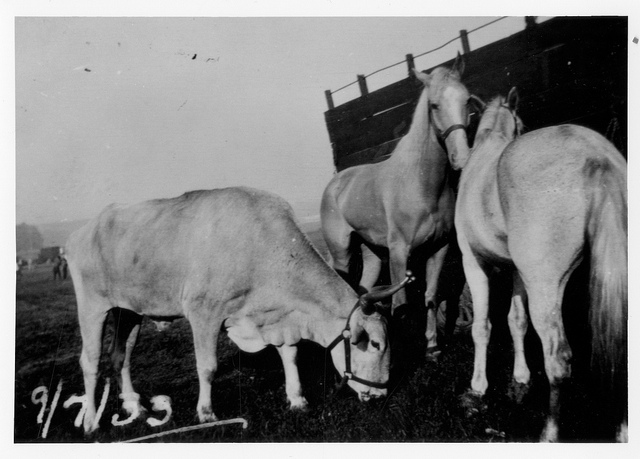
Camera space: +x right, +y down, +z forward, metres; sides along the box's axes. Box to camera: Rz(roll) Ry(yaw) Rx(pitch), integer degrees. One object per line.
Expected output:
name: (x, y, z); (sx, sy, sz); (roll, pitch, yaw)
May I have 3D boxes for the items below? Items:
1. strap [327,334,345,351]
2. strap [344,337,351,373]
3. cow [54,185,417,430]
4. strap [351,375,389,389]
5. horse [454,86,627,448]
strap: (0.130, 0.908, 5.268); (0.037, 0.146, 0.189); (-16, 13, -43)
strap: (0.223, 0.990, 5.170); (0.048, 0.263, 0.096); (-6, 9, 8)
cow: (-0.824, 0.658, 5.853); (3.248, 2.034, 0.907); (3, 11, 12)
strap: (0.392, 1.204, 5.121); (0.281, 0.139, 0.053); (-7, 9, 6)
horse: (1.836, 0.449, 5.355); (1.298, 2.858, 0.709); (2, 13, 45)
